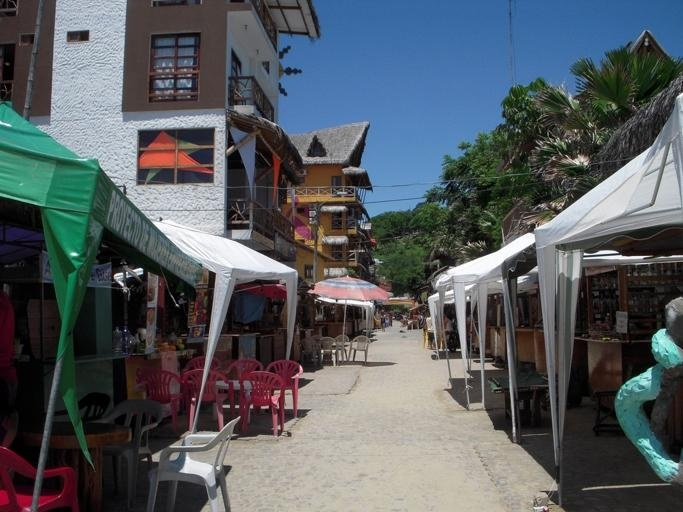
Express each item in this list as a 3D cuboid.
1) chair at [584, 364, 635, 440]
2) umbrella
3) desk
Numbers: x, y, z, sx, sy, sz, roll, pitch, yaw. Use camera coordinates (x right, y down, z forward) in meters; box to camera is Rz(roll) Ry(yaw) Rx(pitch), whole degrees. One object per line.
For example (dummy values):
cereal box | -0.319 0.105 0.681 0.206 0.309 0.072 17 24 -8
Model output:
chair | 4.636 2.688 10.093 0.669 0.716 0.923 -1 -12 10
umbrella | 0.391 1.813 20.722 2.124 1.656 2.367 1 -3 20
desk | 3.363 2.563 11.035 0.974 0.746 1.890 -4 -5 9
